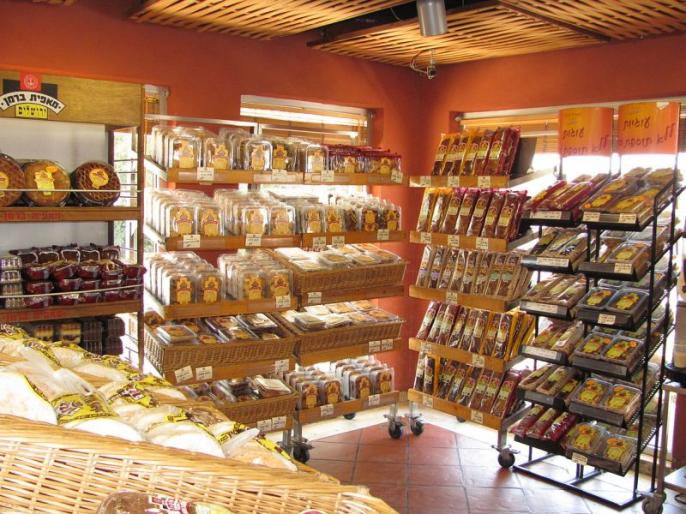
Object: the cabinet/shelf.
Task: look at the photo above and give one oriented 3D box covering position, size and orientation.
[{"bbox_3d":[0.754,0.111,5.291,4.915,2.872,2.453,0,-5,29],"label":"cabinet/shelf"}]
